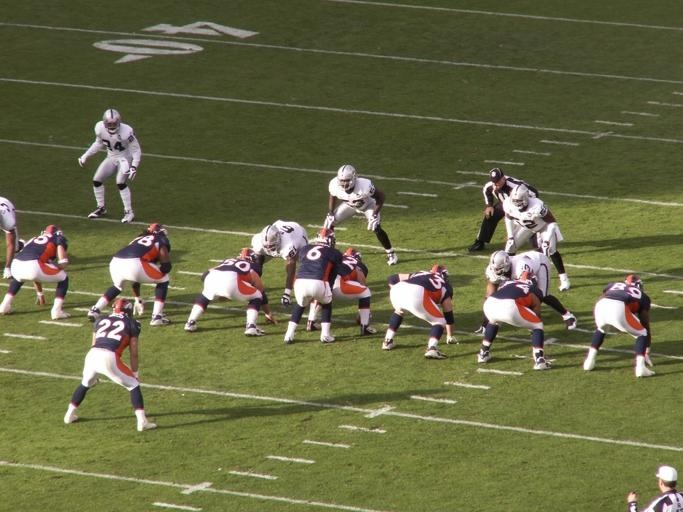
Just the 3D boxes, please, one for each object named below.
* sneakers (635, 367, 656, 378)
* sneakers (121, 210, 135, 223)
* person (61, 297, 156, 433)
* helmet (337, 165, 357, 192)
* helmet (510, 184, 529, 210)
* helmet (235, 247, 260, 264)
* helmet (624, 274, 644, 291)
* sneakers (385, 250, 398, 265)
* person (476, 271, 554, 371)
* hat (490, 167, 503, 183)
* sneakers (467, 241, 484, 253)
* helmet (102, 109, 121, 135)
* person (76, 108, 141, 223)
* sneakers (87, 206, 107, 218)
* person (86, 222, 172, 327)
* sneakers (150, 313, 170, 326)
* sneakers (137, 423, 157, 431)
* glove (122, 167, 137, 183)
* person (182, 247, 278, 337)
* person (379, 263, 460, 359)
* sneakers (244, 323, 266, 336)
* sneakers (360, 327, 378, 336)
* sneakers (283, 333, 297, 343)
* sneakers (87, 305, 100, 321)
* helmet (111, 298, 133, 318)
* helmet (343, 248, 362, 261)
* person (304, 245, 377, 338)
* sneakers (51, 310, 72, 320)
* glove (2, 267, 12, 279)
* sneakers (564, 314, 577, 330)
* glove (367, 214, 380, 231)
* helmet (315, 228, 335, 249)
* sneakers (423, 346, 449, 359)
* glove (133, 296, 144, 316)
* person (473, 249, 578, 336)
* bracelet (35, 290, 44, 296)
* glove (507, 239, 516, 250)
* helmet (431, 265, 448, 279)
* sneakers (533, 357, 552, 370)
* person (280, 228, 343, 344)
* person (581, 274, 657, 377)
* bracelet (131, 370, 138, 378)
[{"bbox_3d":[3.837,1.441,17.156,0.282,0.123,0.135,-3,3,-32],"label":"sneakers"},{"bbox_3d":[-3.392,-0.627,21.820,0.157,0.099,0.261,0,20,11],"label":"sneakers"},{"bbox_3d":[-2.891,1.412,17.041,1.578,1.551,0.917,9,16,15],"label":"person"},{"bbox_3d":[0.095,-1.137,20.148,0.274,0.383,0.291,-2,3,1],"label":"helmet"},{"bbox_3d":[2.579,-0.835,19.491,0.284,0.331,0.254,-2,3,-5],"label":"helmet"},{"bbox_3d":[-1.214,0.010,18.716,0.277,0.214,0.202,33,-25,-33],"label":"helmet"},{"bbox_3d":[3.795,0.340,17.692,0.158,0.167,0.196,3,-30,44],"label":"helmet"},{"bbox_3d":[0.791,0.048,20.351,0.109,0.166,0.268,-4,-15,6],"label":"sneakers"},{"bbox_3d":[2.209,0.876,17.541,0.894,1.110,0.484,-2,3,4],"label":"person"},{"bbox_3d":[2.280,-1.143,19.922,0.196,0.224,0.230,-2,3,6],"label":"hat"},{"bbox_3d":[2.062,-0.142,20.670,0.369,0.097,0.206,-2,-36,-1],"label":"sneakers"},{"bbox_3d":[-3.638,-2.176,21.702,0.350,0.383,0.326,-1,-39,-16],"label":"helmet"},{"bbox_3d":[-3.651,-1.420,21.968,0.880,1.783,0.612,1,5,42],"label":"person"},{"bbox_3d":[-3.966,-0.692,22.039,0.366,0.099,0.166,-19,14,-42],"label":"sneakers"},{"bbox_3d":[-2.850,0.269,18.716,1.504,1.121,0.798,-4,8,-37],"label":"person"},{"bbox_3d":[-2.473,0.864,18.676,0.367,0.154,0.106,-6,51,-39],"label":"sneakers"},{"bbox_3d":[-2.314,2.027,16.376,0.282,0.092,0.079,-7,45,-17],"label":"sneakers"},{"bbox_3d":[-3.378,-1.327,21.816,0.066,0.181,0.199,8,-24,30],"label":"glove"},{"bbox_3d":[-1.521,0.479,18.668,1.263,0.744,1.484,7,22,9],"label":"person"},{"bbox_3d":[0.813,0.682,17.906,1.080,0.889,1.295,9,16,25],"label":"person"},{"bbox_3d":[-1.155,0.976,18.392,0.133,0.124,0.325,6,7,26],"label":"sneakers"},{"bbox_3d":[0.372,1.000,18.389,0.272,0.149,0.079,-10,44,-10],"label":"sneakers"},{"bbox_3d":[-0.669,1.082,18.213,0.142,0.108,0.250,-1,-7,0],"label":"sneakers"},{"bbox_3d":[-3.343,0.769,18.536,0.159,0.167,0.165,7,-19,2],"label":"sneakers"},{"bbox_3d":[-2.598,0.612,16.569,0.217,0.205,0.249,6,21,33],"label":"helmet"},{"bbox_3d":[0.165,-0.032,18.867,0.204,0.169,0.175,9,4,-42],"label":"helmet"},{"bbox_3d":[0.187,0.496,18.695,0.938,0.702,1.185,6,41,18],"label":"person"},{"bbox_3d":[-3.843,0.805,18.746,0.313,0.085,0.207,-7,-14,-14],"label":"sneakers"},{"bbox_3d":[-4.808,0.244,19.739,0.207,0.132,0.247,5,-11,-16],"label":"glove"},{"bbox_3d":[3.087,0.877,18.354,0.118,0.263,0.127,-16,-32,-1],"label":"sneakers"},{"bbox_3d":[0.498,-0.493,20.113,0.108,0.231,0.171,45,-26,-27],"label":"glove"},{"bbox_3d":[-0.207,-0.236,18.538,0.241,0.228,0.294,17,10,20],"label":"helmet"},{"bbox_3d":[1.272,1.240,17.717,0.338,0.131,0.124,1,4,-34],"label":"sneakers"},{"bbox_3d":[-2.807,0.676,18.999,0.205,0.224,0.087,5,4,0],"label":"glove"},{"bbox_3d":[2.585,0.445,18.529,1.311,0.961,1.577,0,3,27],"label":"person"},{"bbox_3d":[-4.238,0.518,19.242,0.094,0.064,0.072,-21,-4,18],"label":"bracelet"},{"bbox_3d":[2.461,-0.165,19.717,0.149,0.147,0.091,13,-19,-6],"label":"glove"},{"bbox_3d":[1.324,0.204,18.104,0.211,0.175,0.167,-4,-2,-17],"label":"helmet"},{"bbox_3d":[2.556,1.362,17.336,0.247,0.126,0.118,-12,31,-17],"label":"sneakers"},{"bbox_3d":[-0.333,0.366,18.128,0.683,0.781,1.479,7,39,8],"label":"person"},{"bbox_3d":[3.517,0.877,17.251,0.849,1.233,0.422,-2,4,9],"label":"person"},{"bbox_3d":[-2.460,1.405,16.379,0.088,0.053,0.079,1,4,-3],"label":"bracelet"}]
